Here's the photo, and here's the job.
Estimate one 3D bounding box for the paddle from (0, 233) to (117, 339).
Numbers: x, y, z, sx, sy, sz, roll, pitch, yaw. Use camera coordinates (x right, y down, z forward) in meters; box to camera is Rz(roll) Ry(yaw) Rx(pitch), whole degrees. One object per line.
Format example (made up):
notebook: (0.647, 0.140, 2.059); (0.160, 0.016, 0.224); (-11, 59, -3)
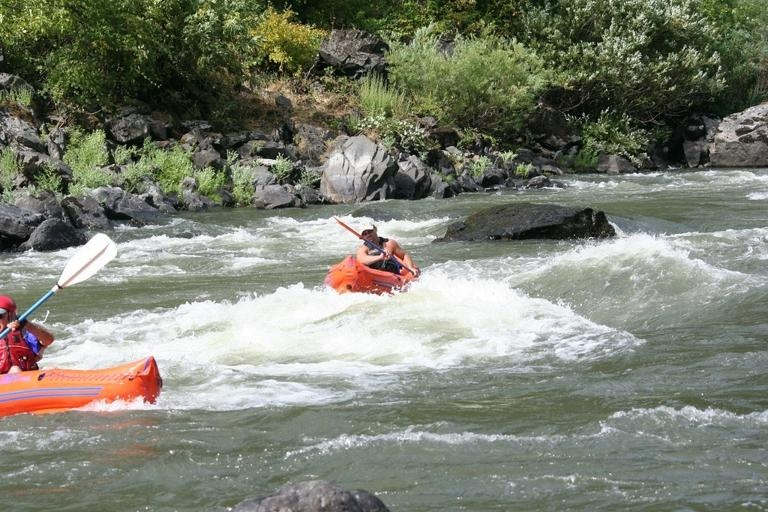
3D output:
paddle: (-6.413, 0.641, 20.388); (3.395, 0.471, 0.159); (-37, 3, -22)

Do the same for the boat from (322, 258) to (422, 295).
boat: (-0.172, 0.376, 21.035); (1.413, 0.415, 0.795); (-2, -1, -45)

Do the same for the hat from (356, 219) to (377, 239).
hat: (-0.361, -0.550, 21.859); (0.362, 0.267, 0.530); (-25, 7, 11)

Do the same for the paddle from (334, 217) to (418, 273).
paddle: (-0.231, -0.132, 21.375); (0.606, 0.549, 1.739); (-36, -27, 17)
